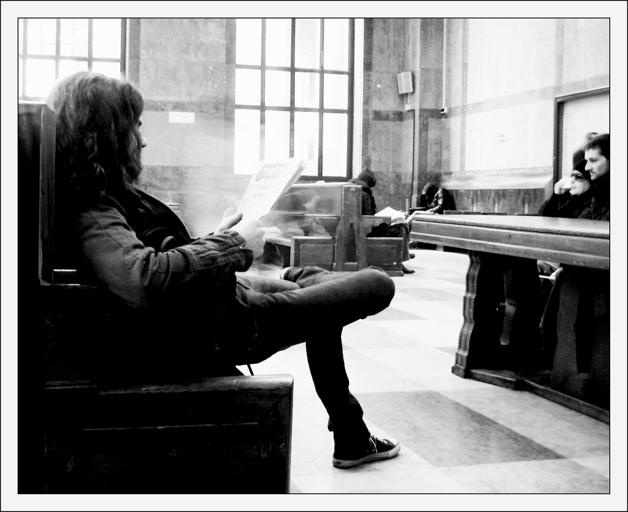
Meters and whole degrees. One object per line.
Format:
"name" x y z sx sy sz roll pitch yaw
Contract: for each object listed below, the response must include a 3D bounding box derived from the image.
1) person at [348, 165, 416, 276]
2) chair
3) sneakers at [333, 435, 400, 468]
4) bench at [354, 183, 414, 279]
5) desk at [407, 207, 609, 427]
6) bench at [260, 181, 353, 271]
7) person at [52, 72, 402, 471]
"person" 0.924 -0.454 7.800 0.707 1.269 0.492 -7 4 5
"chair" -0.530 0.267 2.024 0.725 1.424 0.774 -3 7 -23
"sneakers" 0.200 0.727 2.271 0.260 0.111 0.096 -3 -1 -32
"bench" 0.914 -0.347 7.704 0.815 1.582 0.607 -2 -2 18
"desk" 1.192 0.293 3.103 0.597 0.801 1.095 8 0 -12
"bench" -0.011 -0.392 7.416 0.913 1.012 1.425 0 -2 -20
"person" -0.236 0.084 1.976 0.949 1.423 0.643 -14 1 -23
